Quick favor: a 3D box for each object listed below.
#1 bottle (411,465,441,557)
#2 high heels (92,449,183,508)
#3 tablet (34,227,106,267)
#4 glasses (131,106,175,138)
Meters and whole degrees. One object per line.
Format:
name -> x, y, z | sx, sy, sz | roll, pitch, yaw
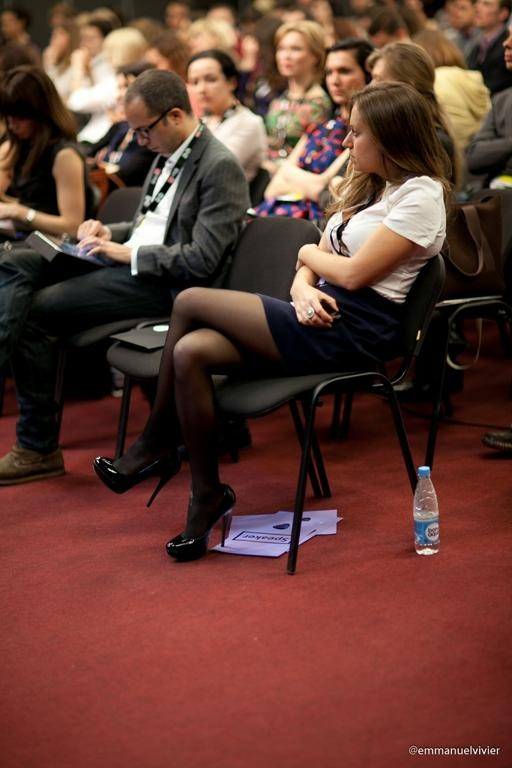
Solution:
bottle -> 0.449, 0.325, 1.584 | 0.084, 0.220, 0.082 | -2, 11, 0
high heels -> -0.351, 0.257, 1.759 | 0.334, 0.178, 0.219 | -2, 16, -13
tablet -> -0.683, -0.477, 2.197 | 0.175, 0.043, 0.184 | 19, 9, -46
glasses -> -0.365, -0.931, 2.131 | 0.106, 0.032, 0.100 | -50, 16, -19
